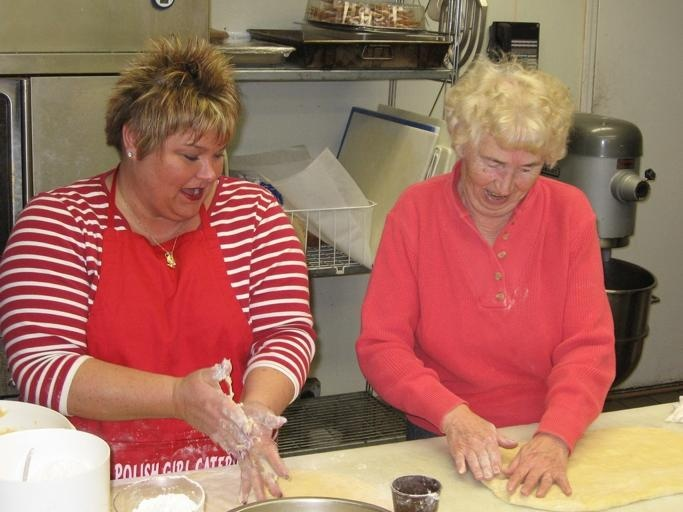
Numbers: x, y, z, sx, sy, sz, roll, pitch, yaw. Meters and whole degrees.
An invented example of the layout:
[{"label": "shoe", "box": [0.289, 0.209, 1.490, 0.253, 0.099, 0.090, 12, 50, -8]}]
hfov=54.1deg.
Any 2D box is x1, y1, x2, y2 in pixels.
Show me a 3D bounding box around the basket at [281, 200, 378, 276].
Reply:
[{"label": "basket", "box": [-0.034, -0.091, 2.482, 0.273, 0.181, 0.279, 2, 8, 37]}]
